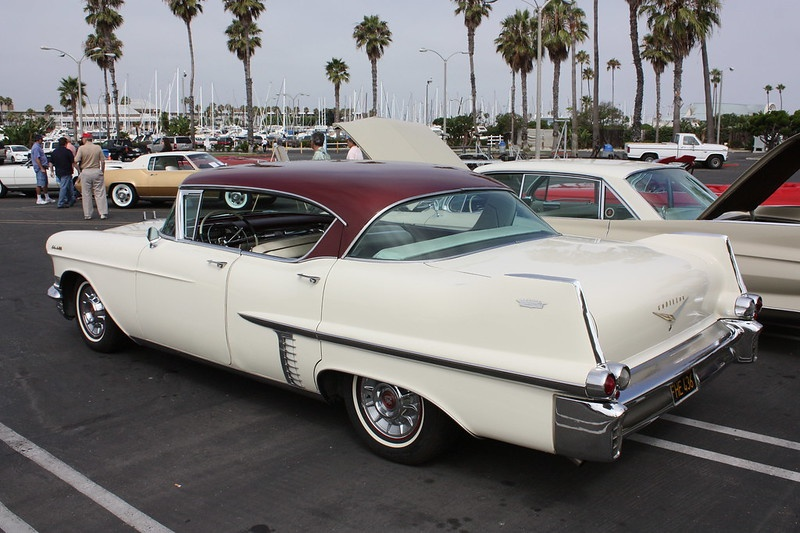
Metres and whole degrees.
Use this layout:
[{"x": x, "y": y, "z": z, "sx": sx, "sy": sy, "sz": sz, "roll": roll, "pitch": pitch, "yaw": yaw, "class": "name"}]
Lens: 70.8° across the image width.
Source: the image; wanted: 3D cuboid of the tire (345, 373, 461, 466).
[{"x": 0.040, "y": 1.111, "z": 4.149, "sx": 0.582, "sy": 0.601, "sz": 0.209, "roll": -26, "pitch": -8, "yaw": 36, "class": "tire"}]

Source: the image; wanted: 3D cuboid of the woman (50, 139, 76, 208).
[{"x": -10.972, "y": -3.022, "z": 18.351, "sx": 0.747, "sy": 2.225, "sz": 0.704, "roll": -2, "pitch": 3, "yaw": -44, "class": "woman"}]

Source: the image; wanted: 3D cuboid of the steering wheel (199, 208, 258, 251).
[{"x": -1.719, "y": -0.354, "z": 5.581, "sx": 0.383, "sy": 0.408, "sz": 0.196, "roll": 1, "pitch": 18, "yaw": -16, "class": "steering wheel"}]

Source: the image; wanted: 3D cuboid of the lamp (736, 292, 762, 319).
[{"x": 2.776, "y": 0.331, "z": 4.496, "sx": 0.198, "sy": 0.082, "sz": 0.220, "roll": 2, "pitch": 14, "yaw": 20, "class": "lamp"}]

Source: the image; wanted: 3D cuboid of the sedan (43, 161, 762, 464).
[{"x": -0.533, "y": 0.105, "z": 5.501, "sx": 6.871, "sy": 2.213, "sz": 2.398, "roll": 7, "pitch": 15, "yaw": 33, "class": "sedan"}]

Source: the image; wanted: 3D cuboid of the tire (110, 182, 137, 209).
[{"x": -9.127, "y": -2.368, "z": 18.630, "sx": 0.742, "sy": 0.783, "sz": 0.294, "roll": 5, "pitch": 15, "yaw": 28, "class": "tire"}]

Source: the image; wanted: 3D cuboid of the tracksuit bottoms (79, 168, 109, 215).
[{"x": -8.557, "y": -2.077, "z": 15.734, "sx": 0.609, "sy": 1.350, "sz": 0.450, "roll": -6, "pitch": 5, "yaw": -14, "class": "tracksuit bottoms"}]
